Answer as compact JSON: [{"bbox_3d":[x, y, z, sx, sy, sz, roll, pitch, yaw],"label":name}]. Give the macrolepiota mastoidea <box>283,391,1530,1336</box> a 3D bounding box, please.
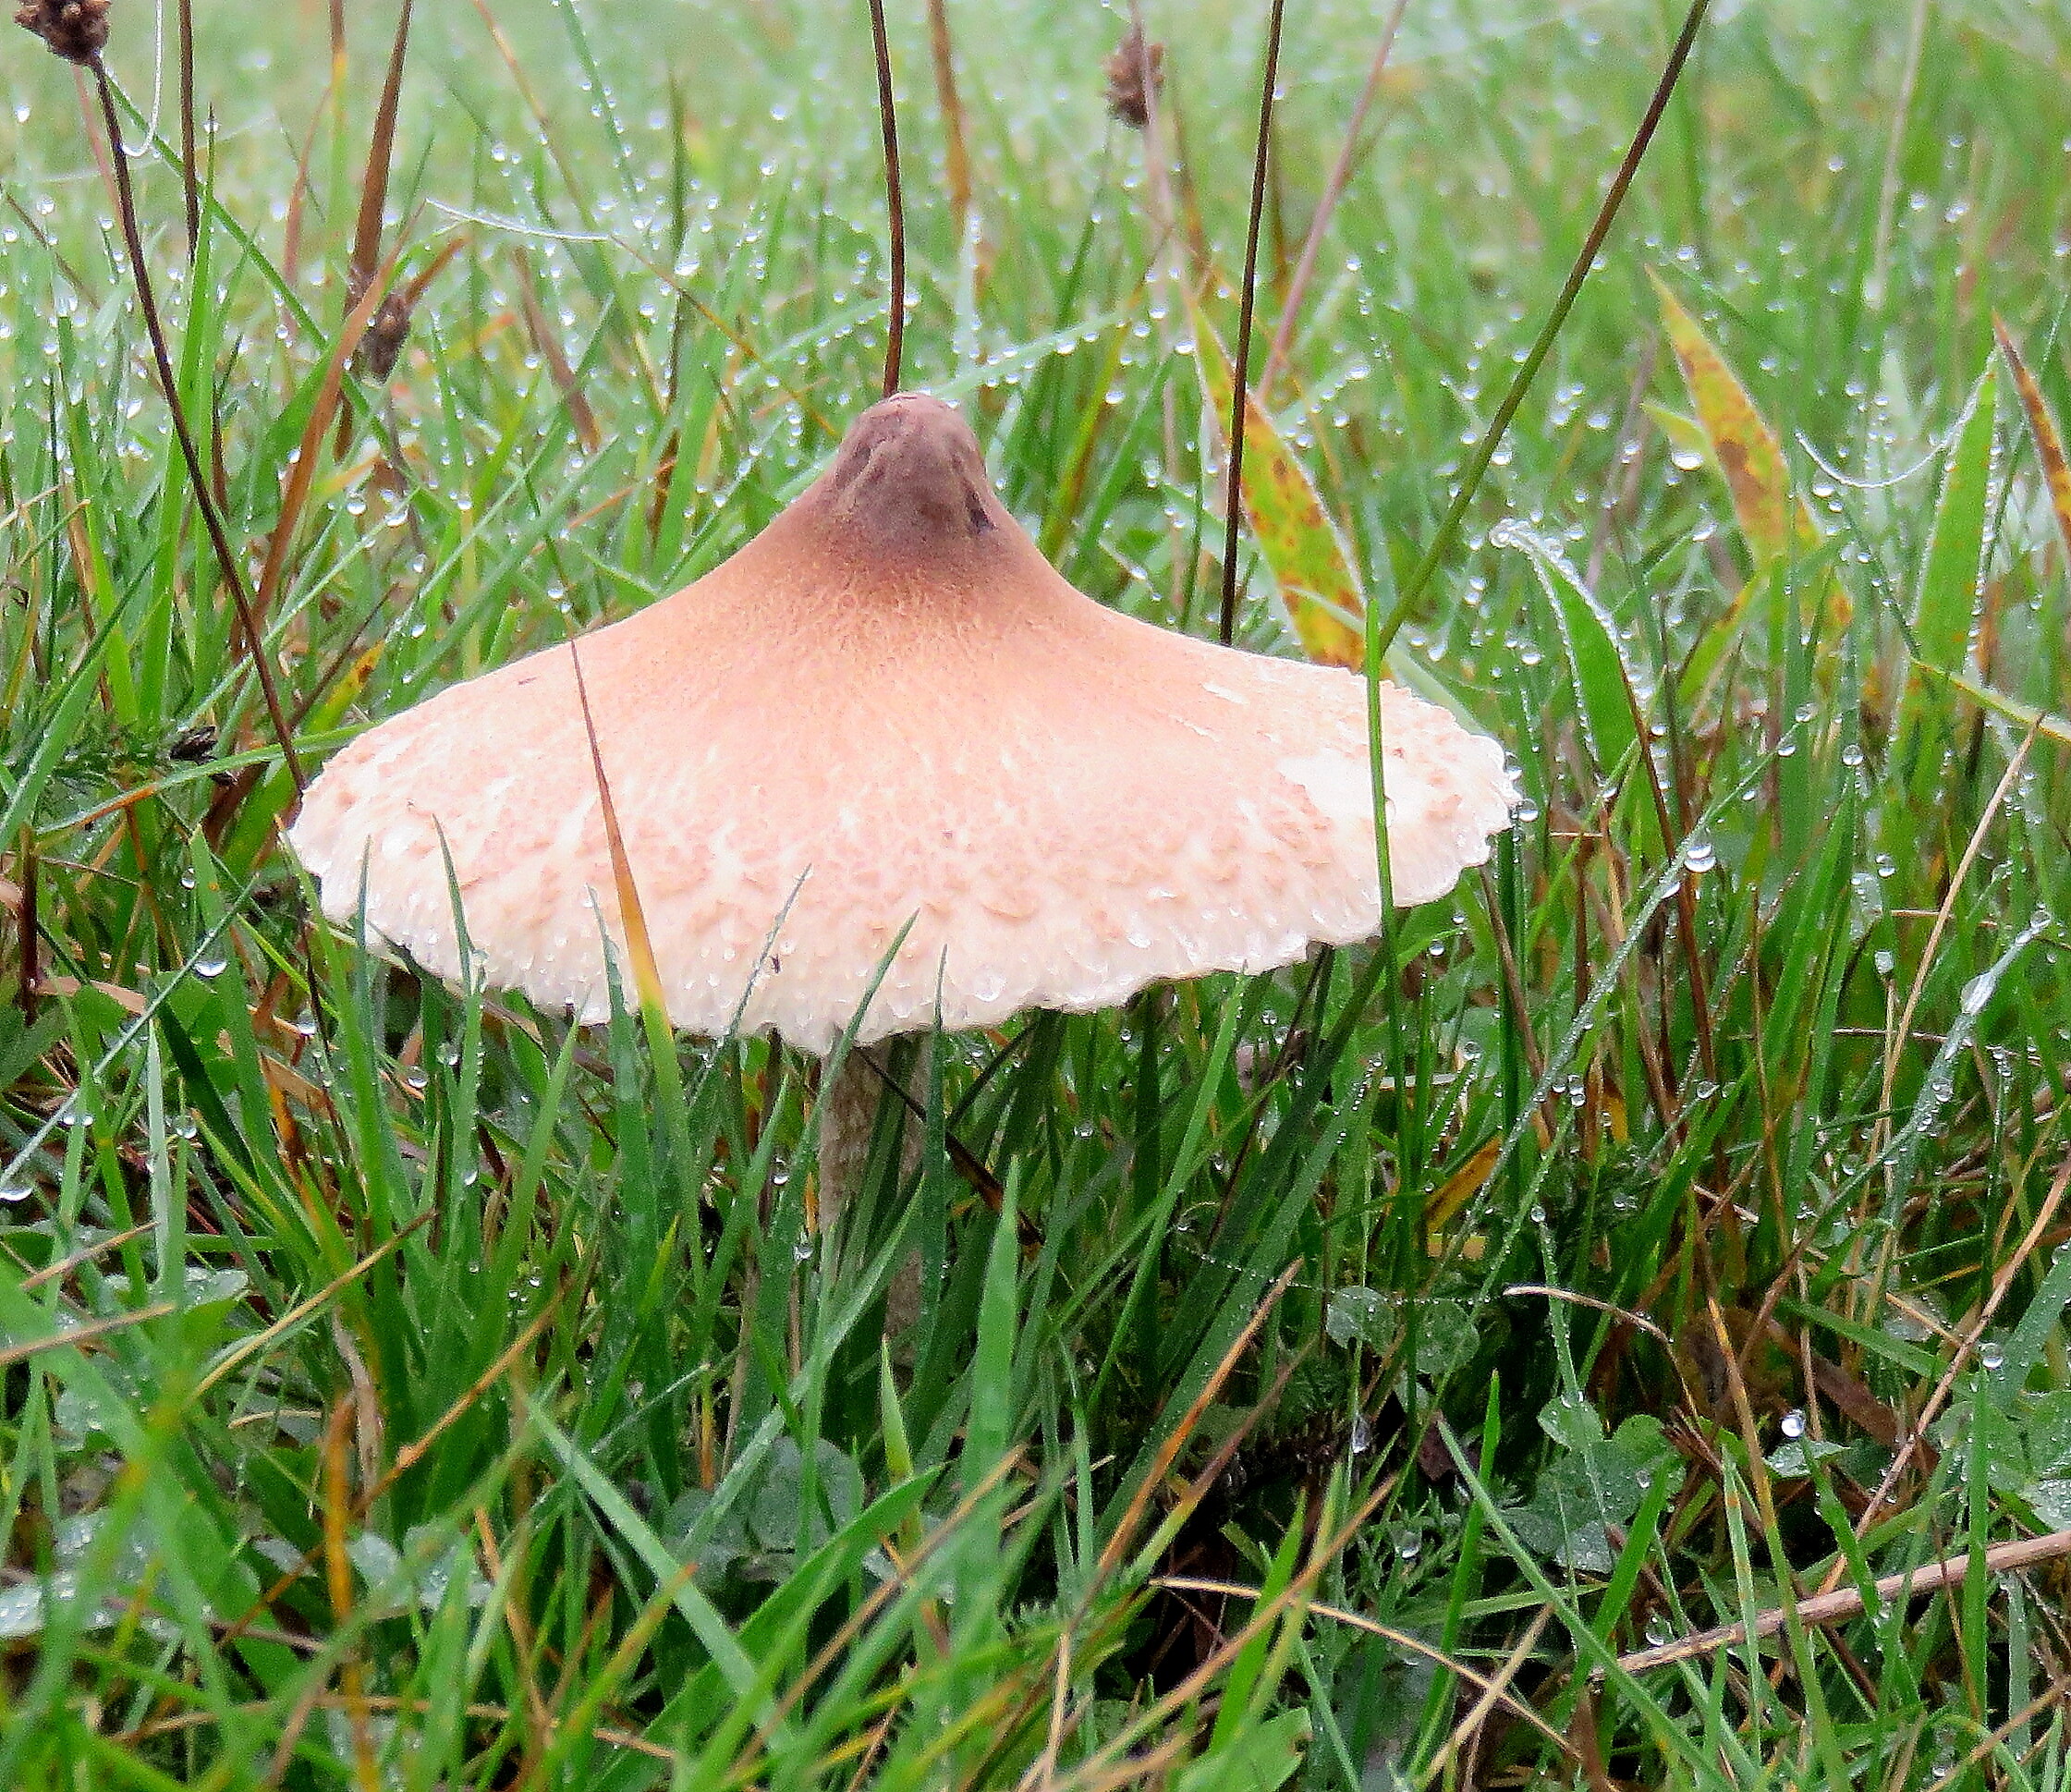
[{"bbox_3d":[-0.159,-0.173,1.863,0.923,0.458,0.571,7,17,9],"label":"macrolepiota mastoidea"}]
